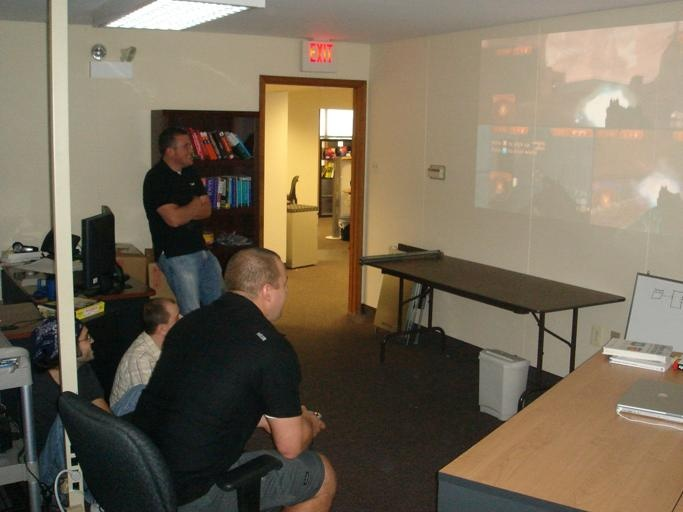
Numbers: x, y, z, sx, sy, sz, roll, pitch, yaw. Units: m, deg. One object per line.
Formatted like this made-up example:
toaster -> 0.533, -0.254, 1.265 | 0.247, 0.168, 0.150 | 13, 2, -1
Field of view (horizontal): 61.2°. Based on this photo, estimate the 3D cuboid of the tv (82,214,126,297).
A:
tv -> -1.857, 0.015, 4.511 | 0.221, 0.632, 0.647 | 2, 6, 6

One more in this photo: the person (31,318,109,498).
person -> -1.479, 0.843, 3.271 | 0.484, 0.938, 0.415 | 0, 10, 3

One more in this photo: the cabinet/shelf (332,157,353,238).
cabinet/shelf -> 0.022, -1.210, 11.882 | 0.347, 1.513, 1.033 | 0, 13, -2

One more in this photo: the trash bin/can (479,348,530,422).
trash bin/can -> 1.316, 1.052, 4.684 | 0.296, 0.503, 0.435 | -2, 6, -23

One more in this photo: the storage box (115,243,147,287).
storage box -> -2.113, 0.111, 5.847 | 0.343, 0.450, 0.645 | -1, -3, -18

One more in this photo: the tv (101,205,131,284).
tv -> -1.827, -0.067, 4.733 | 0.205, 0.617, 0.384 | -4, 4, -26

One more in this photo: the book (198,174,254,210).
book -> -1.229, -0.713, 6.431 | 0.601, 0.601, 0.346 | 3, 17, 5
